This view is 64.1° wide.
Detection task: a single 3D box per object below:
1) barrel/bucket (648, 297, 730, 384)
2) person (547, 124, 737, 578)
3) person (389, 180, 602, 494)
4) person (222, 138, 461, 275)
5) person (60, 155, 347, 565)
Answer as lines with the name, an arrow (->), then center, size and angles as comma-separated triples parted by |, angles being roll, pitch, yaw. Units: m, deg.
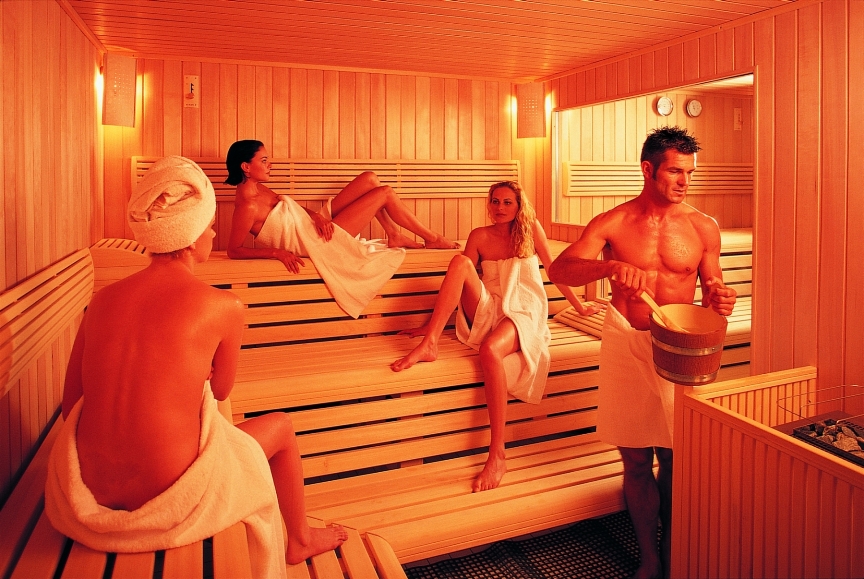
barrel/bucket -> 0.958, 0.199, 2.579 | 0.279, 0.273, 0.306 | -1, 12, 0
person -> 0.961, 0.269, 3.018 | 0.677, 1.889, 0.608 | -9, 16, -28
person -> 0.310, 0.078, 3.669 | 0.905, 0.829, 1.596 | 13, 46, 14
person -> -0.557, -0.482, 4.328 | 1.385, 0.669, 0.804 | -5, 23, -16
person -> -0.890, 0.298, 2.194 | 0.711, 1.368, 0.449 | -6, 15, -17
